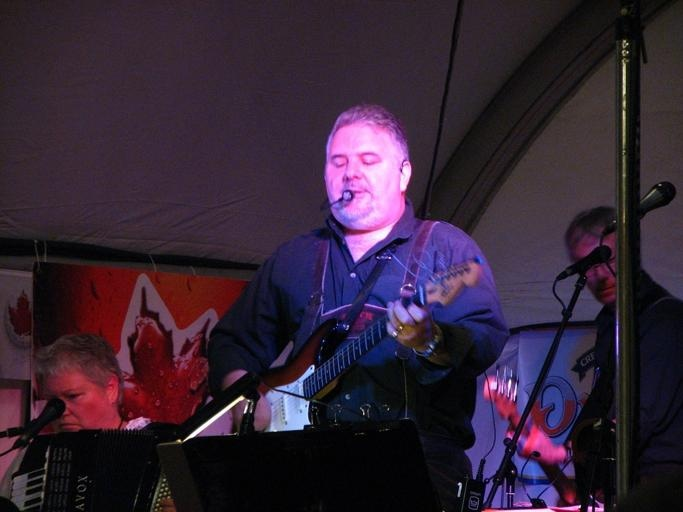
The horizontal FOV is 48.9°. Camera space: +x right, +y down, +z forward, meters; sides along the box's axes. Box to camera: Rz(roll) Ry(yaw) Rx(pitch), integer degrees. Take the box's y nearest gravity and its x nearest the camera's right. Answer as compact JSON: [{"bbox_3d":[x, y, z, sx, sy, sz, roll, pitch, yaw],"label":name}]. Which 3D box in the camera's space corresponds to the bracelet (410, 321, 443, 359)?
[{"bbox_3d":[0.474,0.455,3.982,0.068,0.156,0.176,37,-56,-15],"label":"bracelet"}]

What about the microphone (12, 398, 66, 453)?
[{"bbox_3d":[-1.688,0.932,4.195,0.210,0.295,0.440,7,-17,-11],"label":"microphone"}]

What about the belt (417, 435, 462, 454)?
[{"bbox_3d":[0.532,1.009,4.069,0.253,0.067,0.185,7,-13,-26],"label":"belt"}]

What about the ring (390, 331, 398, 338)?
[{"bbox_3d":[0.275,0.409,3.912,0.046,0.026,0.069,0,-2,4],"label":"ring"}]

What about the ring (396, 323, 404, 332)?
[{"bbox_3d":[0.304,0.371,3.863,0.042,0.047,0.024,0,22,6],"label":"ring"}]

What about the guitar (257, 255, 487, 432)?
[{"bbox_3d":[0.124,0.541,4.147,1.156,0.867,0.388,-6,-17,29],"label":"guitar"}]

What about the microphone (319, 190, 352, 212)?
[{"bbox_3d":[-0.029,-0.328,4.461,0.162,0.121,0.040,-31,-20,17],"label":"microphone"}]
